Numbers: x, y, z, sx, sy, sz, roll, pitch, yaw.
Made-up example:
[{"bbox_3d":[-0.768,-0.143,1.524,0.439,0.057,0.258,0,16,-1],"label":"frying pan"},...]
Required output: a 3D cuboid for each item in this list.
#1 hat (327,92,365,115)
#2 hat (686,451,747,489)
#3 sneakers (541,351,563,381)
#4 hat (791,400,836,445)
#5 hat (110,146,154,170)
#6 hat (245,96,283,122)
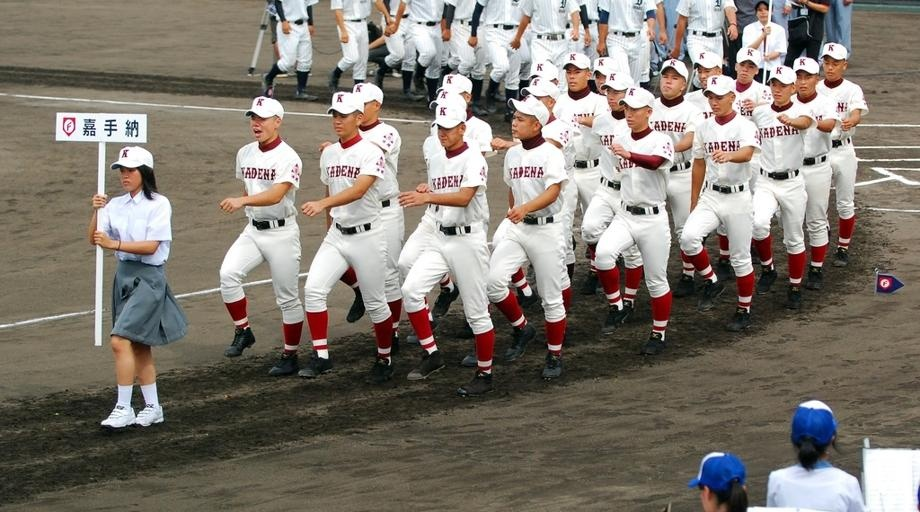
[{"bbox_3d":[-1.698,-2.252,20.234,0.384,0.301,0.672,8,12,35],"label":"hat"},{"bbox_3d":[3.163,2.640,16.765,0.587,0.308,0.750,-2,-2,-32],"label":"hat"},{"bbox_3d":[1.345,1.660,20.265,0.264,0.199,0.554,3,16,15],"label":"sneakers"},{"bbox_3d":[4.330,2.030,17.058,0.635,0.335,0.718,3,22,4],"label":"hat"},{"bbox_3d":[-4.552,-1.374,19.339,0.458,0.231,0.614,1,0,41],"label":"hat"},{"bbox_3d":[-2.931,-2.193,20.320,0.493,0.302,0.313,-3,11,-23],"label":"hat"}]
